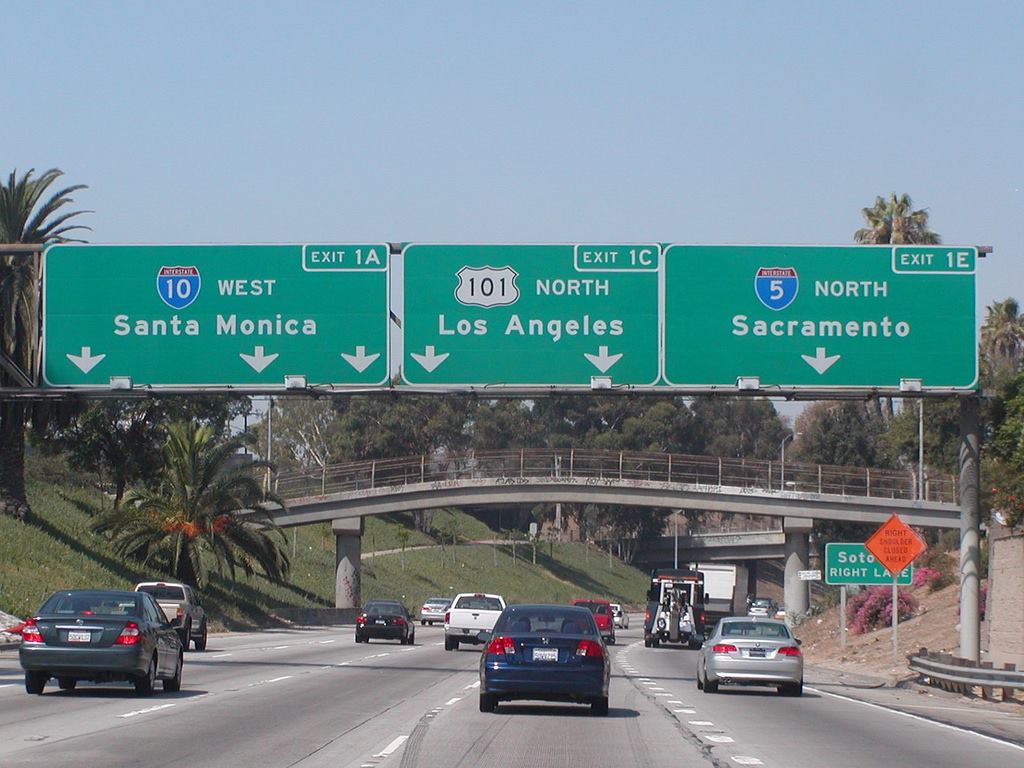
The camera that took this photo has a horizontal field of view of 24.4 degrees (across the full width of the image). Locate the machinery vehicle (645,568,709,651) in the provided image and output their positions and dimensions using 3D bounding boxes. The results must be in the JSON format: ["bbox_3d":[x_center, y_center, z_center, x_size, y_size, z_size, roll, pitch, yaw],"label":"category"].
[{"bbox_3d":[7.788,9.617,101.685,2.352,3.383,4.710,1,-2,24],"label":"machinery vehicle"}]

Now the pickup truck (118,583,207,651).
[{"bbox_3d":[-12.252,8.577,84.651,2.074,2.691,5.237,-1,-2,3],"label":"pickup truck"}]

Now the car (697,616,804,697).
[{"bbox_3d":[7.257,7.998,70.980,2.294,2.629,4.043,-2,-7,1],"label":"car"}]
